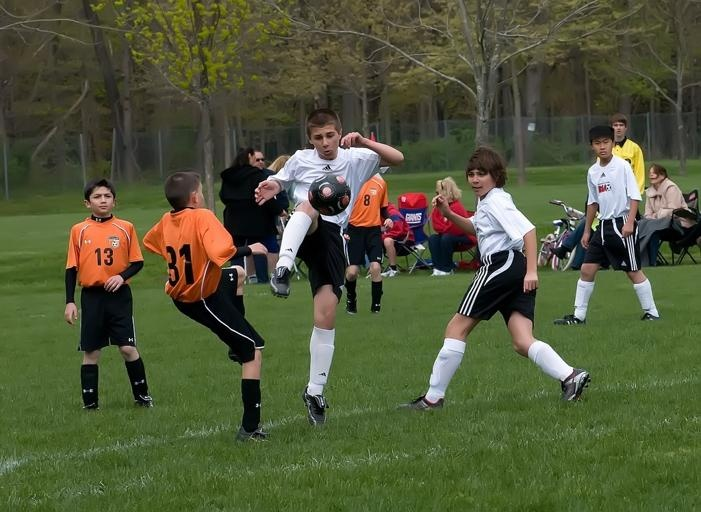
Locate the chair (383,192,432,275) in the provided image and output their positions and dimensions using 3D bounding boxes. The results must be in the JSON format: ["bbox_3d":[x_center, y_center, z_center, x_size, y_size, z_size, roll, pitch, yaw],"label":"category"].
[{"bbox_3d":[1.052,-0.513,22.518,0.877,1.826,0.891,-12,21,-39],"label":"chair"}]

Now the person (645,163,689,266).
[{"bbox_3d":[6.044,-0.822,20.837,1.083,1.960,1.188,-5,-2,-27],"label":"person"}]

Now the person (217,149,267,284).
[{"bbox_3d":[-1.854,-0.722,19.293,0.954,2.455,0.955,-1,3,7],"label":"person"}]

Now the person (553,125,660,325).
[{"bbox_3d":[3.745,-0.434,15.322,1.437,2.905,0.923,0,-2,10],"label":"person"}]

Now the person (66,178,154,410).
[{"bbox_3d":[-2.893,0.502,12.651,0.877,2.828,0.770,-1,3,-12],"label":"person"}]

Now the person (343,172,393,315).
[{"bbox_3d":[0.262,-0.378,17.436,0.793,2.782,0.940,0,3,11],"label":"person"}]

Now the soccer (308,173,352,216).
[{"bbox_3d":[-0.215,-0.712,11.779,0.368,0.466,0.513,4,16,43],"label":"soccer"}]
